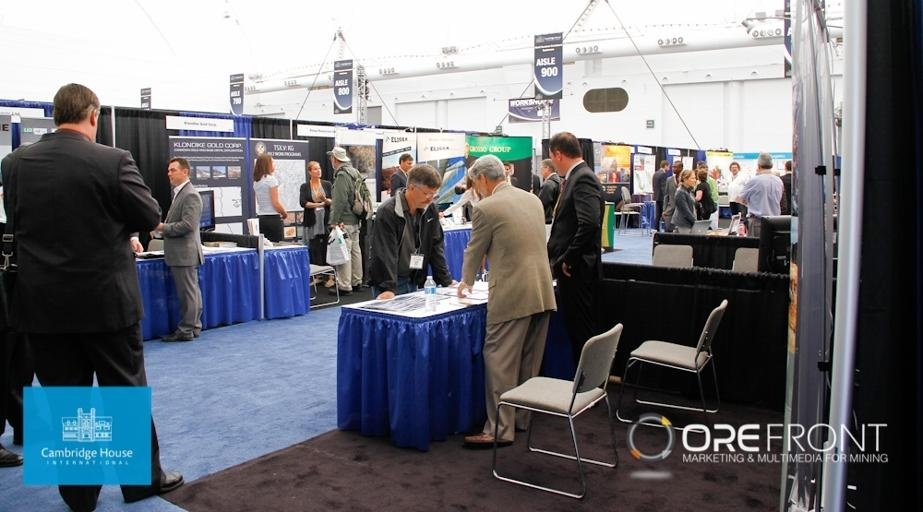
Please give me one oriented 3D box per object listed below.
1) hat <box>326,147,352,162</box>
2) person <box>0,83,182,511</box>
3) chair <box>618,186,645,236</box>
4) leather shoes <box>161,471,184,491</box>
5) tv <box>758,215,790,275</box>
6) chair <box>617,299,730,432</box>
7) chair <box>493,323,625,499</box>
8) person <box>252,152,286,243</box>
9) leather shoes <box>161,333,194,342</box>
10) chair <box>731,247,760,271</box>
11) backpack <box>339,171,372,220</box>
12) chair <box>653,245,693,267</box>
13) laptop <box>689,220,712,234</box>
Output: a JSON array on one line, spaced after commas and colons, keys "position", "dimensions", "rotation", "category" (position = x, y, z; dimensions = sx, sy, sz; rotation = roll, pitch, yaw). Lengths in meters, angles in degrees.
[{"position": [-1.695, -1.387, 8.690], "dimensions": [0.283, 0.128, 0.362], "rotation": [14, 7, -16], "category": "hat"}, {"position": [-2.229, -0.100, 3.669], "dimensions": [0.846, 1.769, 0.254], "rotation": [1, 6, 1], "category": "person"}, {"position": [4.509, -1.252, 16.685], "dimensions": [0.651, 1.161, 1.977], "rotation": [3, 7, 18], "category": "chair"}, {"position": [-1.843, 1.421, 4.014], "dimensions": [0.067, 0.066, 0.145], "rotation": [2, 5, 21], "category": "leather shoes"}, {"position": [2.612, -0.096, 5.262], "dimensions": [0.221, 0.457, 0.162], "rotation": [4, 7, 25], "category": "tv"}, {"position": [1.668, 0.801, 5.264], "dimensions": [0.993, 1.188, 0.855], "rotation": [2, 2, 21], "category": "chair"}, {"position": [0.687, 0.948, 4.281], "dimensions": [0.723, 1.048, 0.868], "rotation": [5, 8, 32], "category": "chair"}, {"position": [-2.588, -0.781, 8.451], "dimensions": [0.411, 1.159, 0.305], "rotation": [-1, 6, -9], "category": "person"}, {"position": [-3.017, 0.867, 6.707], "dimensions": [0.313, 0.124, 0.115], "rotation": [5, -1, -12], "category": "leather shoes"}, {"position": [2.905, 0.034, 6.446], "dimensions": [0.203, 0.200, 0.363], "rotation": [3, 7, 24], "category": "chair"}, {"position": [-1.378, -0.822, 8.508], "dimensions": [0.477, 0.859, 0.614], "rotation": [1, 6, 6], "category": "backpack"}, {"position": [2.145, -0.009, 6.459], "dimensions": [0.383, 0.179, 0.369], "rotation": [3, 7, 22], "category": "chair"}, {"position": [3.511, -0.431, 9.308], "dimensions": [0.330, 0.250, 0.227], "rotation": [0, 8, -32], "category": "laptop"}]
